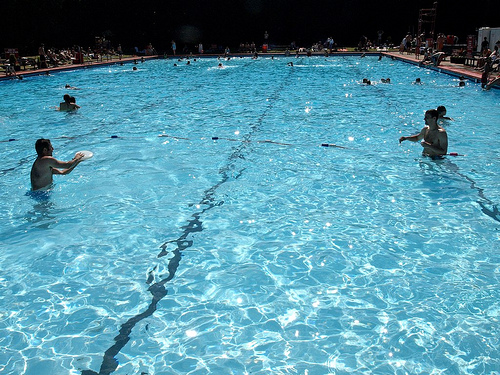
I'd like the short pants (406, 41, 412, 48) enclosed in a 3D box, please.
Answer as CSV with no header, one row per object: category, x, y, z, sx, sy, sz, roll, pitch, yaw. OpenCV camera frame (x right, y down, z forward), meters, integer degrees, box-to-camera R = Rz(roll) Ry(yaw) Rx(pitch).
short pants,11.927,-10.729,28.090,0.354,0.486,0.997,6,25,15

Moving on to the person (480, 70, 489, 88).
person,8.695,-3.999,13.842,0.253,0.619,0.111,13,22,23

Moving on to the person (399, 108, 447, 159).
person,3.494,-1.021,7.239,0.706,1.025,0.438,12,33,25
